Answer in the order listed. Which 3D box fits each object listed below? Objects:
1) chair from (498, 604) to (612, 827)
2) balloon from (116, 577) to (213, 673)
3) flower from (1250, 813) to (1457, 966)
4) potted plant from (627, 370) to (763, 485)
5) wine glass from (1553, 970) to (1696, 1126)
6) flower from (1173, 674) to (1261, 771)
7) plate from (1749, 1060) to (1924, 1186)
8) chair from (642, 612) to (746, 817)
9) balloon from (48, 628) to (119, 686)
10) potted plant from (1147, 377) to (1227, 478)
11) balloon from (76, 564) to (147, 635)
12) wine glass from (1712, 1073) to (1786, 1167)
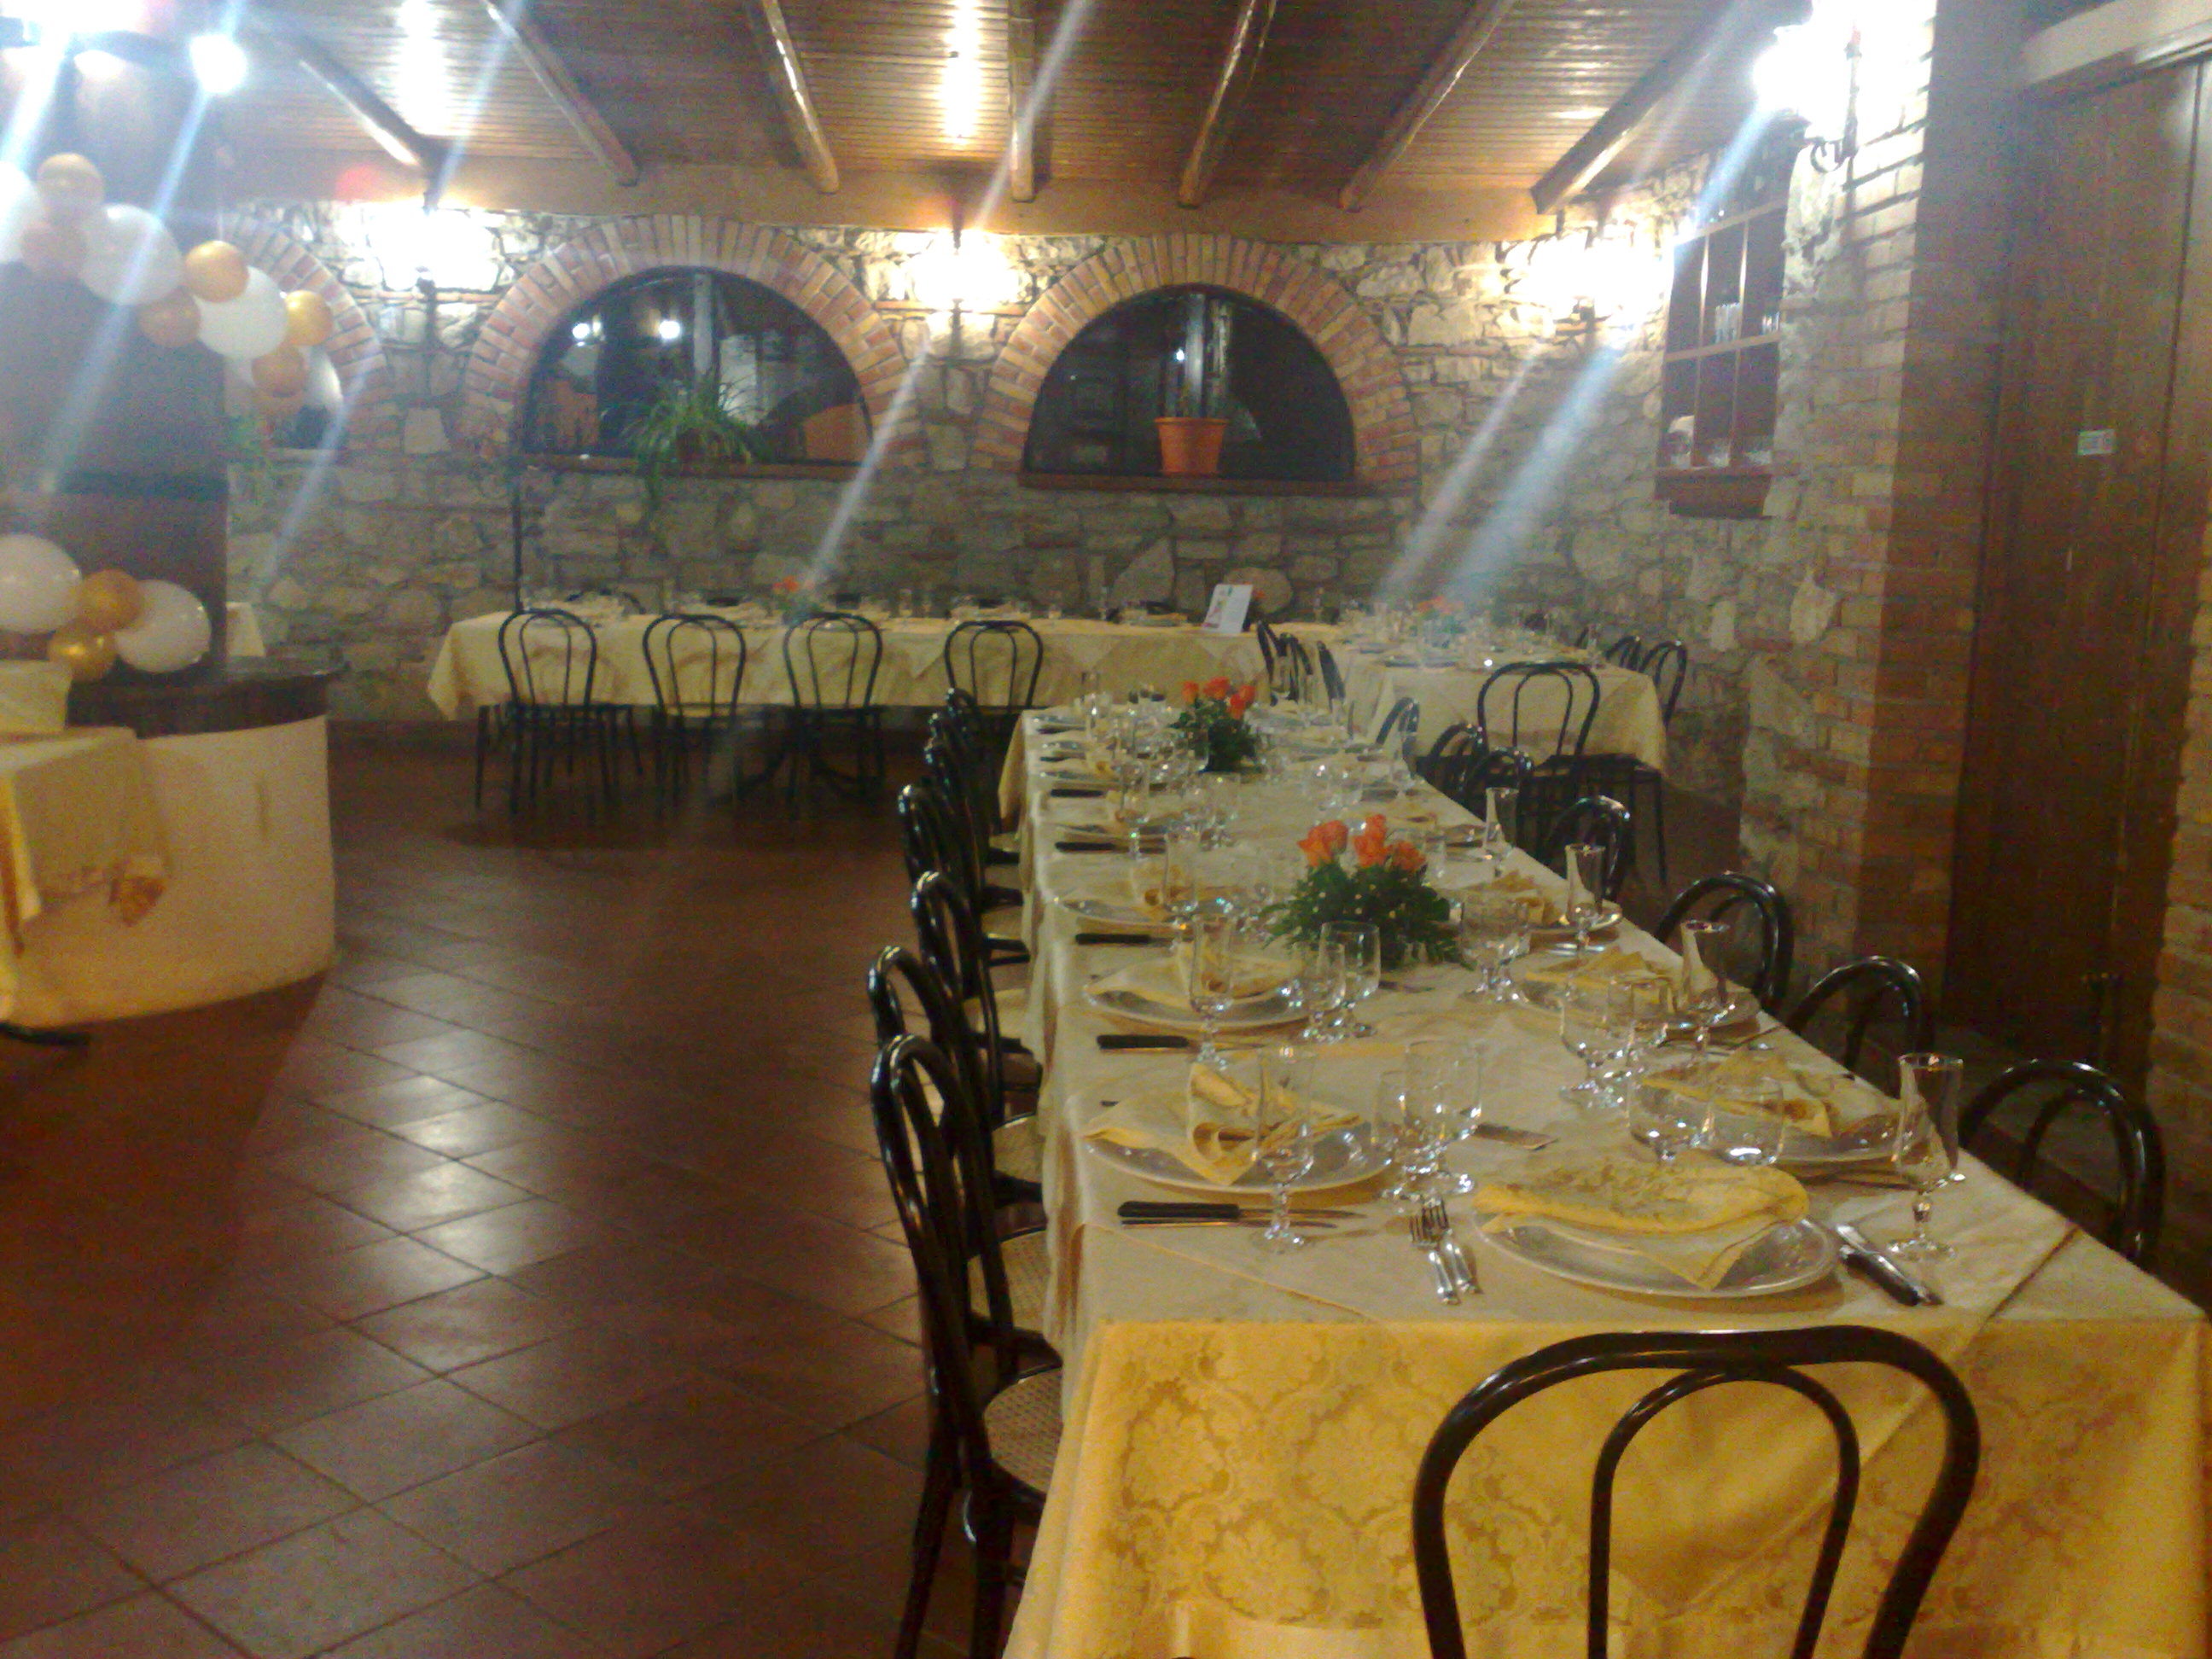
[{"bbox_3d":[-2.921,-0.674,8.660,0.585,1.017,1.554,3,7,-17],"label":"chair"},{"bbox_3d":[-3.015,-0.659,5.186,0.273,0.292,0.175,-15,-8,-38],"label":"balloon"},{"bbox_3d":[0.466,0.131,2.889,0.304,0.313,0.294,4,8,-1],"label":"flower"},{"bbox_3d":[-2.496,-2.381,9.797,0.622,0.506,0.642,-1,4,-9],"label":"potted plant"},{"bbox_3d":[0.736,0.312,2.362,0.189,0.294,0.193,0,7,-3],"label":"wine glass"},{"bbox_3d":[0.307,-0.297,4.725,0.272,0.263,0.259,-4,-2,-44],"label":"flower"},{"bbox_3d":[0.989,0.402,2.163,0.168,0.046,0.186,1,17,14],"label":"plate"},{"bbox_3d":[-2.313,-0.716,9.001,0.520,0.999,2.092,3,7,-15],"label":"chair"},{"bbox_3d":[-3.177,-0.540,5.059,0.158,0.160,0.205,13,-10,-11],"label":"balloon"},{"bbox_3d":[0.539,-2.553,10.556,0.663,0.754,0.710,0,1,1],"label":"potted plant"},{"bbox_3d":[-3.135,-0.710,5.074,0.150,0.198,0.169,6,7,8],"label":"balloon"},{"bbox_3d":[0.795,0.370,2.052,0.095,0.097,0.095,-1,-2,-9],"label":"wine glass"}]
